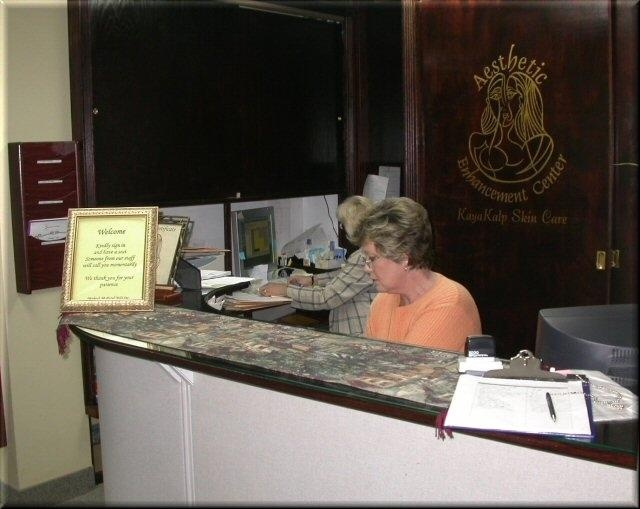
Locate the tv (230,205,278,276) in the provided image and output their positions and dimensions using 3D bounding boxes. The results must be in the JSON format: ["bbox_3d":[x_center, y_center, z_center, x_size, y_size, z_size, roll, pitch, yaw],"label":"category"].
[{"bbox_3d":[-0.508,-0.092,3.907,0.074,0.556,0.483,-3,-8,37],"label":"tv"}]

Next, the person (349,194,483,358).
[{"bbox_3d":[0.375,0.093,2.252,0.501,0.732,0.748,-6,7,-22],"label":"person"}]

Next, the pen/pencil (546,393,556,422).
[{"bbox_3d":[0.463,0.310,1.051,0.011,0.009,0.080,-6,25,14],"label":"pen/pencil"}]

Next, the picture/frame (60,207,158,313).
[{"bbox_3d":[-0.756,0.027,1.880,0.376,0.424,0.031,0,-14,3],"label":"picture/frame"}]

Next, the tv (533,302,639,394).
[{"bbox_3d":[0.623,0.201,1.271,0.280,0.228,0.163,1,11,17],"label":"tv"}]
